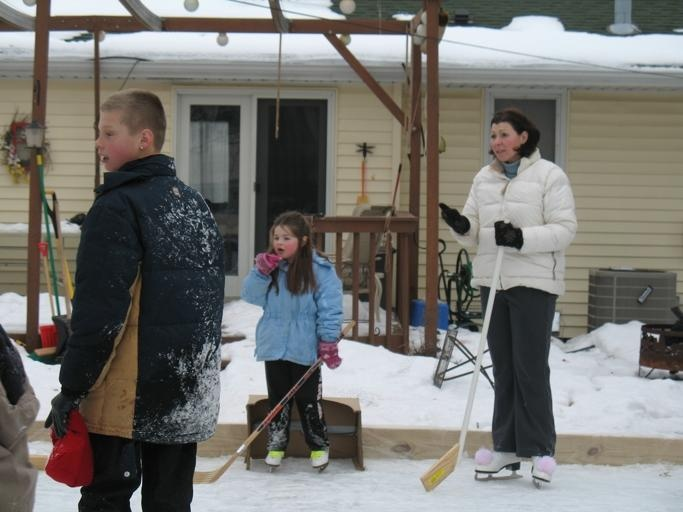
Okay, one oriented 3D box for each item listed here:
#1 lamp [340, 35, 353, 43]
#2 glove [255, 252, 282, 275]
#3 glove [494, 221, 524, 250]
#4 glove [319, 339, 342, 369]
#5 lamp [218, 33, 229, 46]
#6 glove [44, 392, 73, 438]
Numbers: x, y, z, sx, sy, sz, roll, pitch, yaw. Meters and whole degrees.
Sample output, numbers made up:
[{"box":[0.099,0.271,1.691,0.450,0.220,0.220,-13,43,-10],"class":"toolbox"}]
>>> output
[{"box":[0.054,-2.337,13.895,0.094,0.105,0.095,10,16,42],"class":"lamp"},{"box":[-0.617,0.057,10.842,0.219,0.177,0.179,0,5,-4],"class":"glove"},{"box":[1.356,-0.165,10.436,0.214,0.229,0.128,-2,5,-25],"class":"glove"},{"box":[-0.070,0.809,10.760,0.214,0.215,0.093,39,34,27],"class":"glove"},{"box":[-1.333,-2.414,14.399,0.116,0.135,0.405,0,5,-6],"class":"lamp"},{"box":[-2.019,1.140,9.326,0.115,0.288,0.257,10,-3,-29],"class":"glove"}]
